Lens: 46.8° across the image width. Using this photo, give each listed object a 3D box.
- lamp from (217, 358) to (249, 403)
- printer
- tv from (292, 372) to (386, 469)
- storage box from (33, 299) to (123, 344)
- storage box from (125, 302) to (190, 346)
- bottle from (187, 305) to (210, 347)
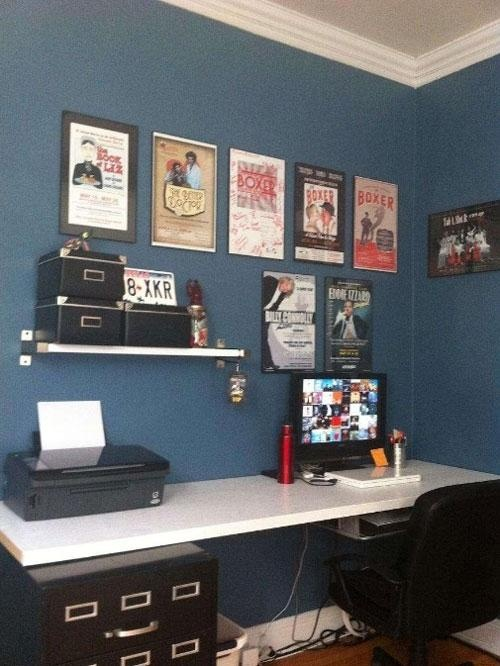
[{"bbox_3d":[-0.076,0.198,2.498,0.145,0.195,0.079,6,15,18],"label":"lamp"},{"bbox_3d":[-0.512,0.467,1.837,0.453,0.188,0.336,-2,3,-30],"label":"printer"},{"bbox_3d":[0.439,0.405,2.710,0.102,0.432,0.543,15,-17,-38],"label":"tv"},{"bbox_3d":[-0.584,-0.041,1.975,0.306,0.131,0.285,1,-1,-11],"label":"storage box"},{"bbox_3d":[-0.304,-0.026,2.107,0.266,0.149,0.144,4,6,18],"label":"storage box"},{"bbox_3d":[-0.200,-0.026,2.225,0.070,0.166,0.190,0,3,-6],"label":"bottle"}]
